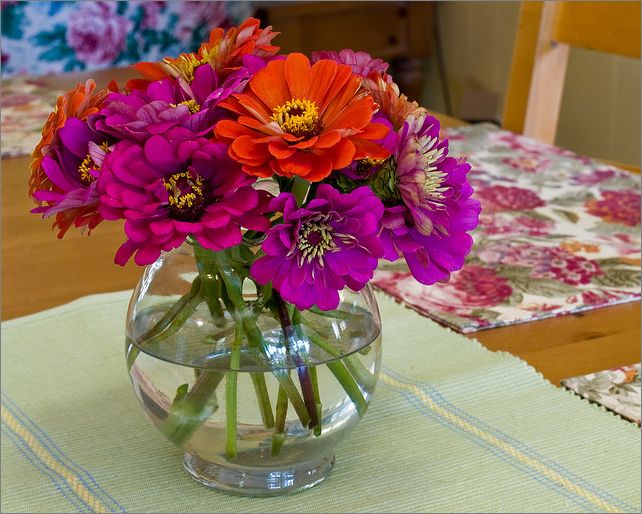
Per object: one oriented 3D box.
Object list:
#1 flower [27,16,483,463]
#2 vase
[{"bbox_3d":[-0.044,-0.012,0.423,0.267,0.298,0.194,-16,29,-24],"label":"flower"},{"bbox_3d":[-0.079,0.092,0.519,0.238,0.148,0.199,-4,19,-15],"label":"vase"}]
